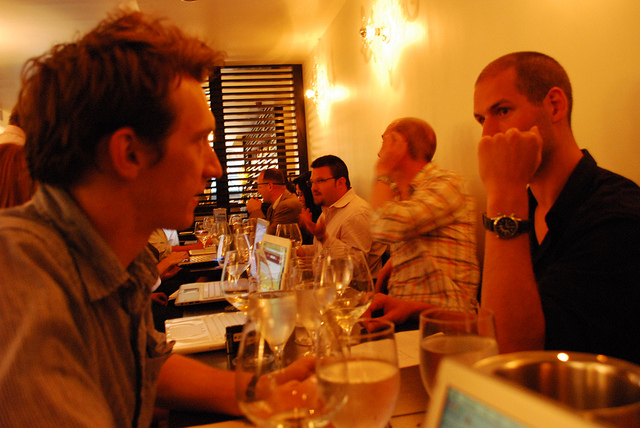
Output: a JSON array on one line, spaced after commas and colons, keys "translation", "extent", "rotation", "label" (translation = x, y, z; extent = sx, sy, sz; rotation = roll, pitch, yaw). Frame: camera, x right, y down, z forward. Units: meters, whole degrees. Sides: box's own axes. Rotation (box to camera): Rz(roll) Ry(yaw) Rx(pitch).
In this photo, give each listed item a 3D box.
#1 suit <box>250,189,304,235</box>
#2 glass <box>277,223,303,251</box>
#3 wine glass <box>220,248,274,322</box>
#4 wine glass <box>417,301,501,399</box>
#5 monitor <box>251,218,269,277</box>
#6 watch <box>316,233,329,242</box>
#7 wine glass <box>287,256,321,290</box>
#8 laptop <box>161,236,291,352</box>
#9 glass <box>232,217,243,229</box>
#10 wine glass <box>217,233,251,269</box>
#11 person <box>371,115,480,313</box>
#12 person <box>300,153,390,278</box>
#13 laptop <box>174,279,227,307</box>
[{"translation": [-0.381, -0.033, 4.554], "extent": [0.412, 0.470, 0.458], "rotation": [0, 4, -18], "label": "suit"}, {"translation": [-0.166, 0.157, 2.775], "extent": [0.143, 0.189, 0.164], "rotation": [-7, -4, 1], "label": "glass"}, {"translation": [-0.266, 0.272, 1.737], "extent": [0.179, 0.288, 0.185], "rotation": [-2, -4, 29], "label": "wine glass"}, {"translation": [0.292, 0.291, 1.097], "extent": [0.192, 0.220, 0.192], "rotation": [-1, -13, 5], "label": "wine glass"}, {"translation": [-0.273, 0.146, 2.249], "extent": [0.031, 0.322, 0.174], "rotation": [1, -1, -20], "label": "monitor"}, {"translation": [0.017, 0.149, 3.162], "extent": [0.066, 0.055, 0.102], "rotation": [-1, 3, -5], "label": "watch"}, {"translation": [-0.042, 0.178, 1.510], "extent": [0.112, 0.110, 0.114], "rotation": [1, -9, 4], "label": "wine glass"}, {"translation": [-0.358, 0.262, 1.822], "extent": [0.486, 0.333, 0.527], "rotation": [-3, 2, -38], "label": "laptop"}, {"translation": [-0.807, 0.092, 4.843], "extent": [0.084, 0.116, 0.120], "rotation": [1, -1, -3], "label": "glass"}, {"translation": [-0.360, 0.136, 2.018], "extent": [0.169, 0.183, 0.190], "rotation": [0, -6, -6], "label": "wine glass"}, {"translation": [0.535, 0.005, 2.461], "extent": [0.446, 1.388, 0.541], "rotation": [2, -22, 0], "label": "person"}, {"translation": [0.173, -0.010, 3.119], "extent": [0.439, 0.454, 0.842], "rotation": [6, 34, -11], "label": "person"}, {"translation": [-0.528, 0.377, 2.404], "extent": [0.295, 0.023, 0.567], "rotation": [-3, 1, -10], "label": "laptop"}]
